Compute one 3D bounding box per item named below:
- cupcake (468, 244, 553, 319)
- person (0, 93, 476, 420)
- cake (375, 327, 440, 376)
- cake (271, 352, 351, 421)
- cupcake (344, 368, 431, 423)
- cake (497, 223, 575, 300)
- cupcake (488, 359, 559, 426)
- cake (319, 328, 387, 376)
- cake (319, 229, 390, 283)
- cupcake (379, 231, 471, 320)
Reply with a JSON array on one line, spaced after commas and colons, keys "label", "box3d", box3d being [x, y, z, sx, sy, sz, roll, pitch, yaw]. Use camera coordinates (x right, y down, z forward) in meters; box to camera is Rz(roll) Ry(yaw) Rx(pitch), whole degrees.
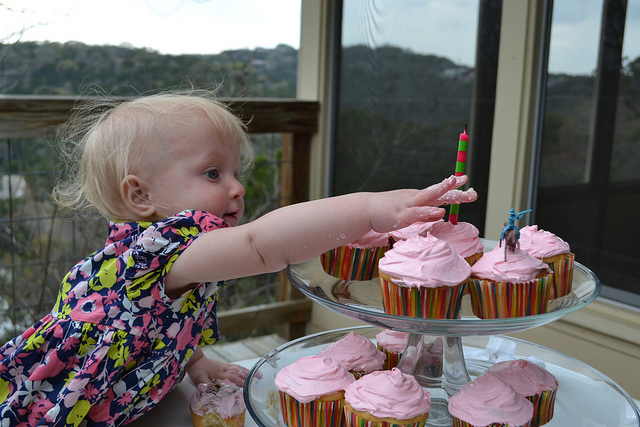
[{"label": "cupcake", "box3d": [0.522, 0.203, 1.736, 0.201, 0.190, 0.209, -2, 3, 13]}, {"label": "person", "box3d": [-0.355, 0.102, 1.775, 1.111, 0.858, 0.437, -3, 12, 0]}, {"label": "cake", "box3d": [0.252, 0.388, 1.873, 0.157, 0.165, 0.163, 2, -8, -14]}, {"label": "cake", "box3d": [-0.028, 0.462, 1.713, 0.155, 0.133, 0.187, 0, -8, 1]}, {"label": "cupcake", "box3d": [0.173, 0.489, 1.663, 0.226, 0.131, 0.080, -2, 12, 7]}, {"label": "cake", "box3d": [0.638, 0.128, 1.862, 0.208, 0.194, 0.202, -2, 7, 22]}, {"label": "cupcake", "box3d": [0.575, 0.468, 1.774, 0.243, 0.147, 0.248, 3, 6, 3]}, {"label": "cake", "box3d": [0.113, 0.378, 1.808, 0.128, 0.084, 0.125, -6, 6, -42]}, {"label": "cake", "box3d": [0.094, 0.134, 1.916, 0.162, 0.123, 0.171, -2, -2, 22]}, {"label": "cupcake", "box3d": [0.292, 0.159, 1.700, 0.225, 0.215, 0.208, 0, 8, 17]}]
